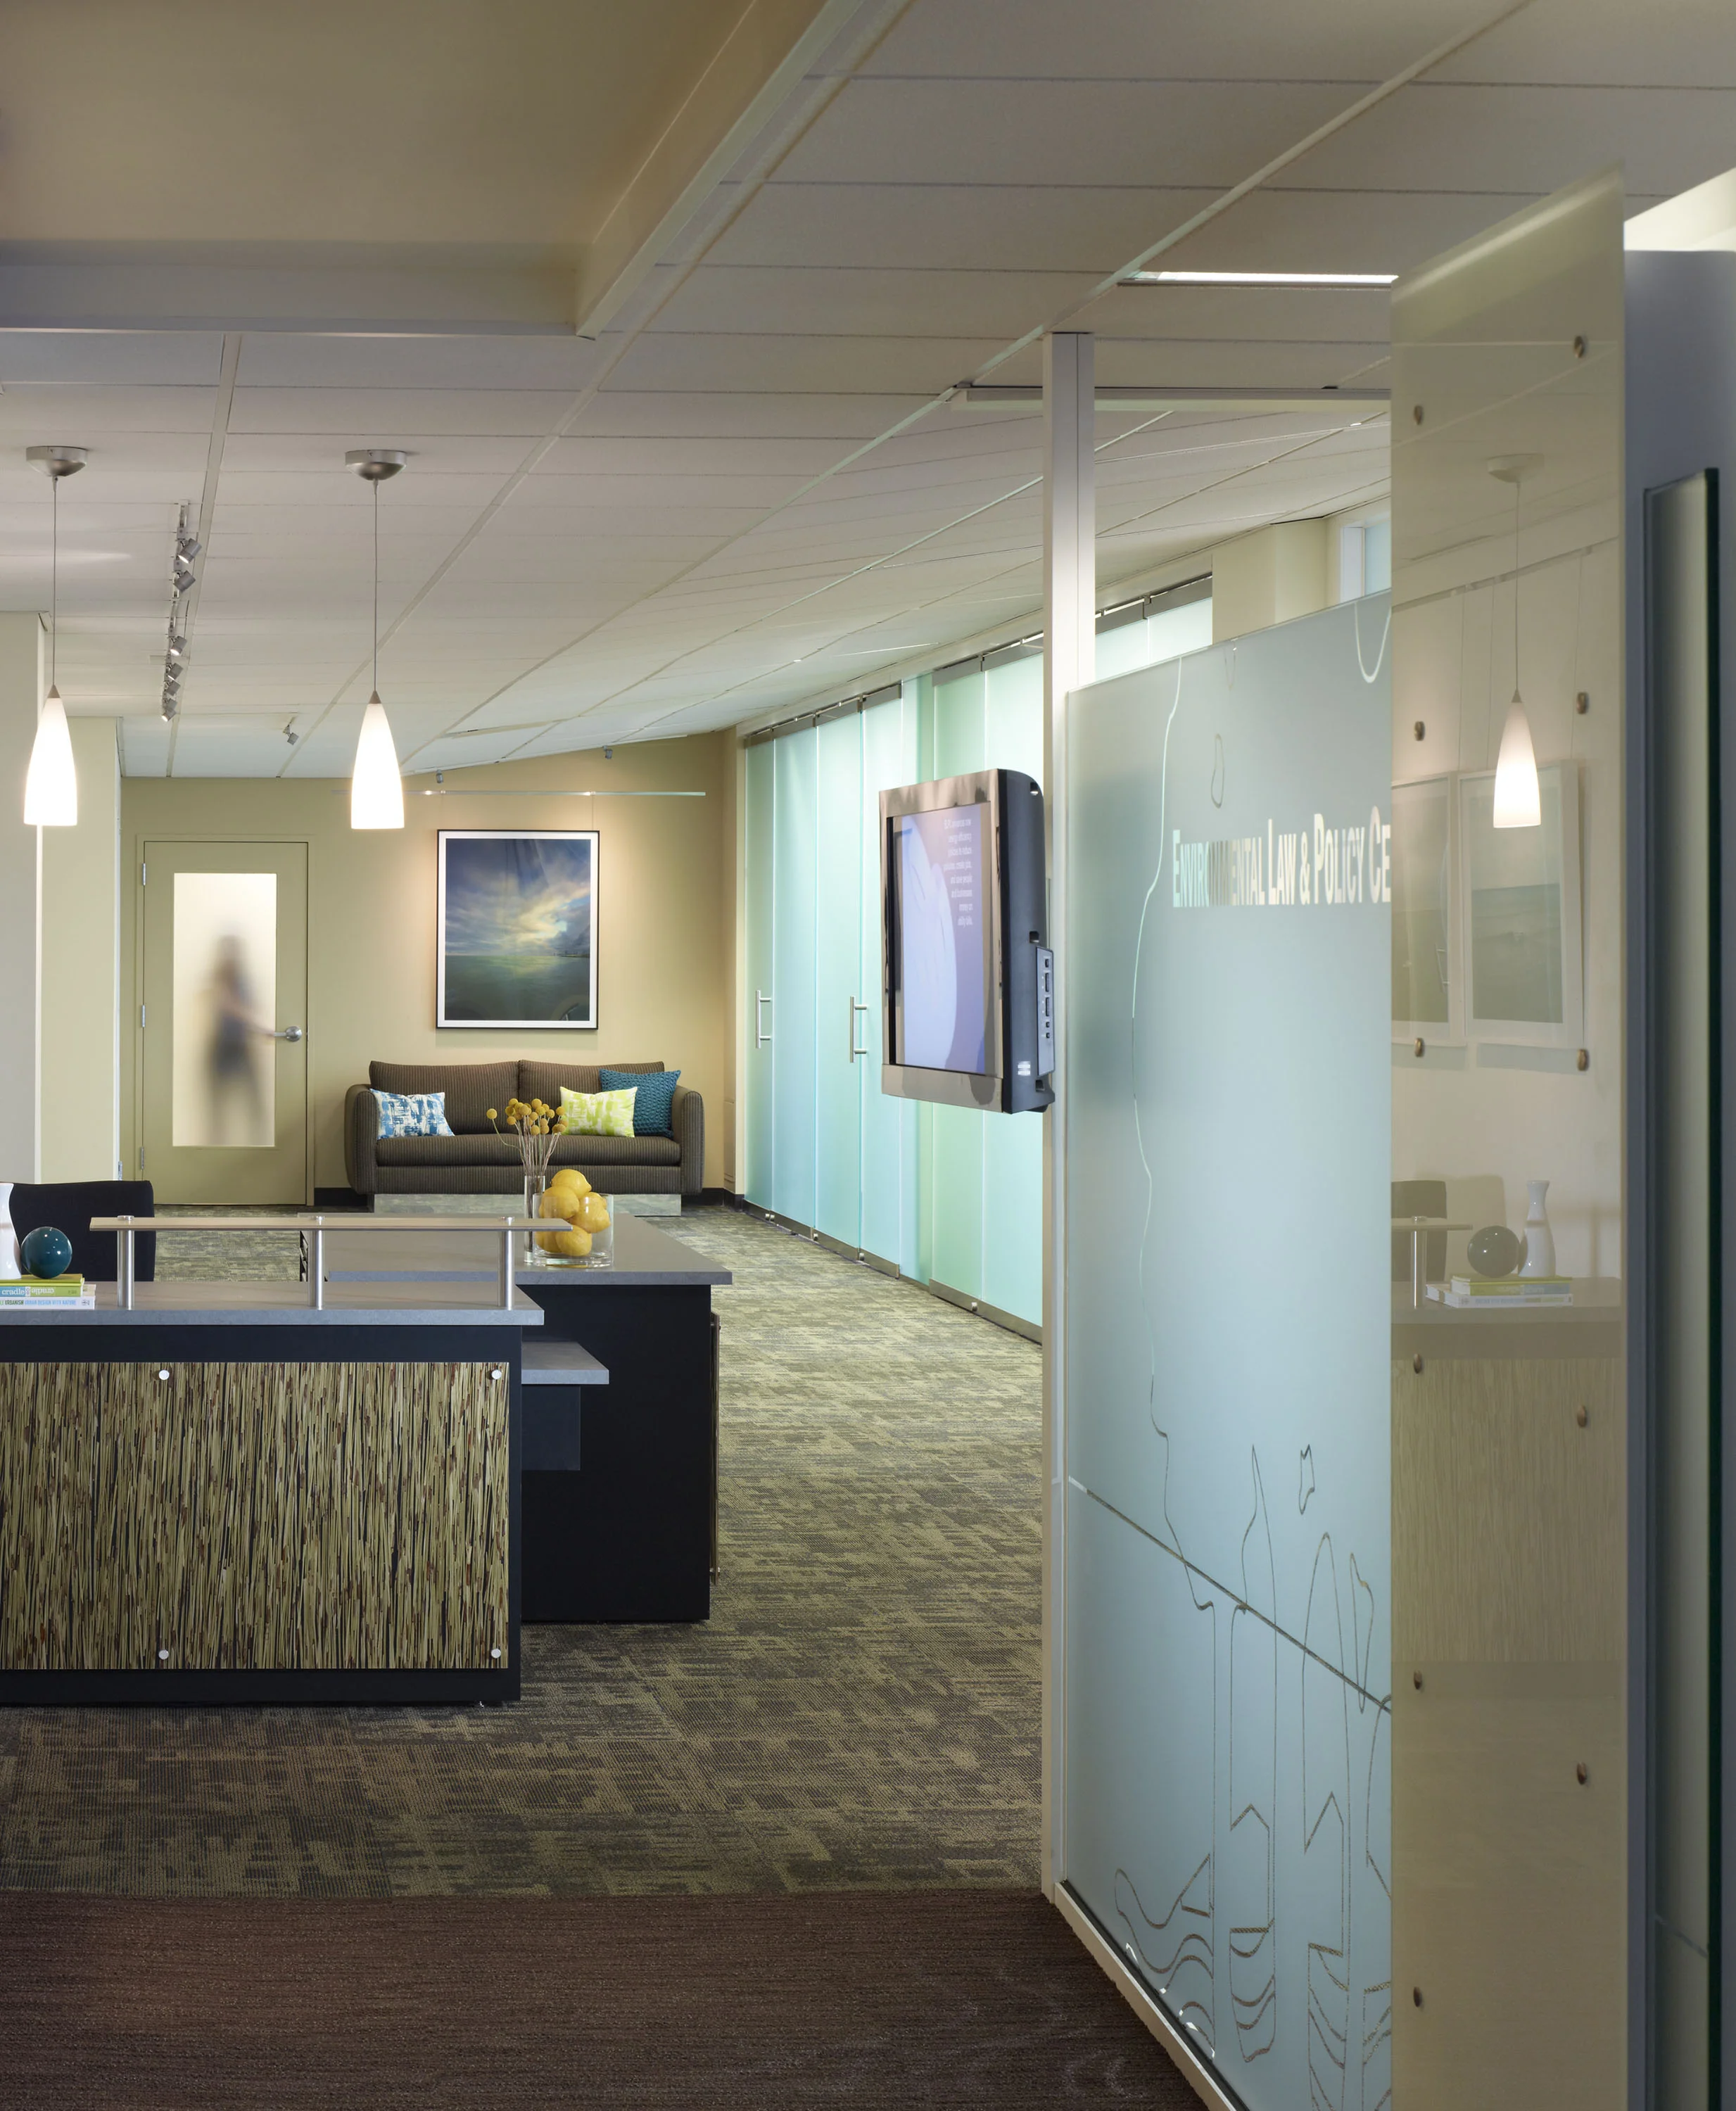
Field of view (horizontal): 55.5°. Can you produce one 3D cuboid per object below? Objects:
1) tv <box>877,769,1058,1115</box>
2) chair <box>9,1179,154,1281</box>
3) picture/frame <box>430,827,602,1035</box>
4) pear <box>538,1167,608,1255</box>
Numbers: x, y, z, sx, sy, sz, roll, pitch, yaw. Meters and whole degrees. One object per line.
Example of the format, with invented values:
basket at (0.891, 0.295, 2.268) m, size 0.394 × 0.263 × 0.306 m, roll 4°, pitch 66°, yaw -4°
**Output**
tv at (0.195, -0.229, 3.136) m, size 0.133 × 0.866 × 0.670 m, roll 1°, pitch -1°, yaw -23°
chair at (-2.094, 0.468, 4.453) m, size 0.221 × 0.367 × 0.264 m, roll 2°, pitch 2°, yaw 8°
picture/frame at (-3.031, -1.167, 14.168) m, size 1.394 × 2.153 × 0.070 m, roll 1°, pitch -2°, yaw -8°
pear at (-0.799, 0.447, 4.540) m, size 0.112 × 0.271 × 0.181 m, roll -10°, pitch -10°, yaw -6°
